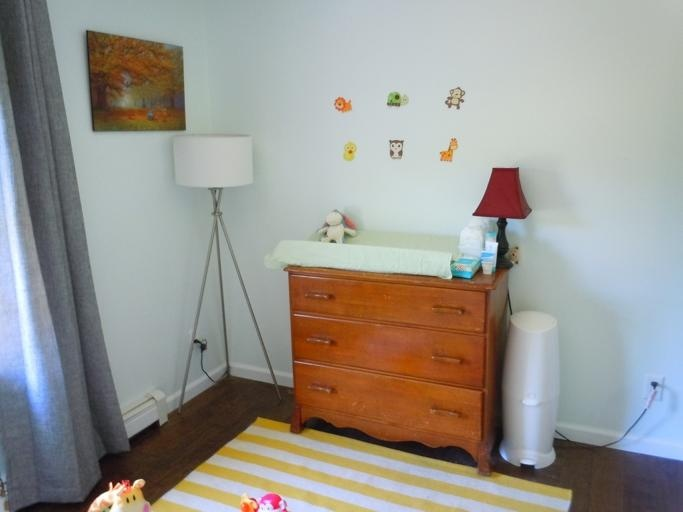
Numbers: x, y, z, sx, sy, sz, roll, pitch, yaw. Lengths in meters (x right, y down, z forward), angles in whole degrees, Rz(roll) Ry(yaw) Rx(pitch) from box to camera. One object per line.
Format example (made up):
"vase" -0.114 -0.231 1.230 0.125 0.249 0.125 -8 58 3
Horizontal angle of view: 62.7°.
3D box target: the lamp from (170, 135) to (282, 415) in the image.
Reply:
"lamp" -0.752 0.089 3.704 0.654 1.766 0.559 -1 11 -3

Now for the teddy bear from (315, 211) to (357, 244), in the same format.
"teddy bear" -0.035 -0.179 3.348 0.209 0.164 0.311 3 12 17

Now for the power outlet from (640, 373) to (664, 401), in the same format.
"power outlet" 1.727 0.722 3.109 0.135 0.244 0.023 6 19 41

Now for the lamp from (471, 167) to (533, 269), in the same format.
"lamp" 0.901 -0.215 3.148 0.300 0.558 0.231 4 12 21

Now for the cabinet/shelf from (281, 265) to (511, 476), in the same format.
"cabinet/shelf" 0.327 0.546 3.412 1.224 1.125 0.697 6 16 23
